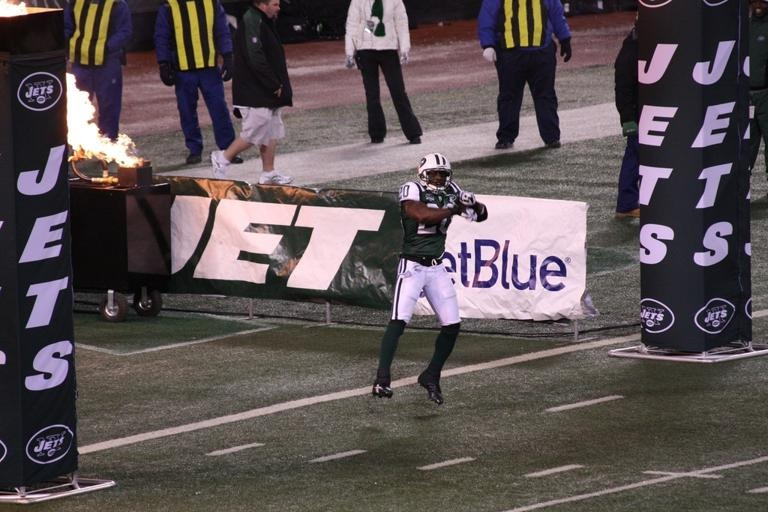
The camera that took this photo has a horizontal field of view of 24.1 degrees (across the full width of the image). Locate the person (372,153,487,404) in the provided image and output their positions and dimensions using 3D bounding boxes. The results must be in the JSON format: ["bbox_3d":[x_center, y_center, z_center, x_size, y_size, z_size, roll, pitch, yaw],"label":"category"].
[{"bbox_3d":[0.445,0.215,18.435,0.778,2.387,1.458,3,16,27],"label":"person"}]

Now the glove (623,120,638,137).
[{"bbox_3d":[3.004,-1.525,21.807,0.225,0.175,0.154,4,34,11],"label":"glove"}]

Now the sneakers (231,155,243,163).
[{"bbox_3d":[-2.094,-1.376,25.688,0.177,0.098,0.266,-2,4,-7],"label":"sneakers"}]

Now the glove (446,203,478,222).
[{"bbox_3d":[0.836,-0.438,18.650,0.293,0.095,0.170,15,0,-2],"label":"glove"}]

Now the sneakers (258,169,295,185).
[{"bbox_3d":[-1.397,-1.029,24.048,0.555,0.200,0.187,-6,22,-23],"label":"sneakers"}]

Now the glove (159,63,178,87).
[{"bbox_3d":[-3.102,-2.592,25.828,0.265,0.299,0.125,-9,-1,-22],"label":"glove"}]

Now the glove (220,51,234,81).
[{"bbox_3d":[-2.197,-2.712,25.797,0.168,0.401,0.349,1,-4,-40],"label":"glove"}]

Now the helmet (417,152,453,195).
[{"bbox_3d":[0.542,-0.873,18.637,0.348,0.317,0.412,1,9,-11],"label":"helmet"}]

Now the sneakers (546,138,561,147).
[{"bbox_3d":[2.500,-1.638,26.241,0.256,0.098,0.093,-2,22,3],"label":"sneakers"}]

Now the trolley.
[{"bbox_3d":[-3.054,-0.166,21.037,1.241,1.771,0.747,-6,14,-7],"label":"trolley"}]

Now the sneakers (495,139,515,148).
[{"bbox_3d":[1.783,-1.625,26.234,0.300,0.082,0.118,1,-11,3],"label":"sneakers"}]

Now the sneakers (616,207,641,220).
[{"bbox_3d":[3.135,-0.537,23.000,0.359,0.201,0.116,-6,28,0],"label":"sneakers"}]

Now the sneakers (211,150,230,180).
[{"bbox_3d":[-2.177,-1.230,24.201,0.222,0.453,0.181,-21,-23,21],"label":"sneakers"}]

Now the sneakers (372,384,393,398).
[{"bbox_3d":[-0.010,1.370,18.203,0.272,0.131,0.093,1,6,24],"label":"sneakers"}]
